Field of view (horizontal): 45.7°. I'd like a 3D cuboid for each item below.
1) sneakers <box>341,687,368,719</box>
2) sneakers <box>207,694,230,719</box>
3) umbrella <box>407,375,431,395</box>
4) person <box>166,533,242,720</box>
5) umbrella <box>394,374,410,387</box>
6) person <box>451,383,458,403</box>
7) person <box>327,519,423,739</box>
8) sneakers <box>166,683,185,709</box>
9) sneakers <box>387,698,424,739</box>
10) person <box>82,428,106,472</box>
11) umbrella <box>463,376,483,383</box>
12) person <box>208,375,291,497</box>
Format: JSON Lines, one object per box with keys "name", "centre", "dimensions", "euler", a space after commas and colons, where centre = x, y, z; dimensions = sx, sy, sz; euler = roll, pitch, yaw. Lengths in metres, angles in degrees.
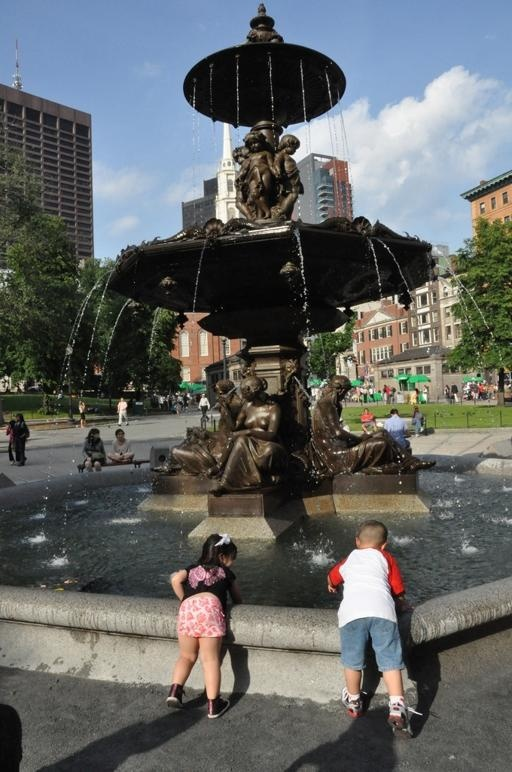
{"name": "sneakers", "centre": [0.471, 1.521, 2.946], "dimensions": [0.112, 0.135, 0.135], "euler": [-1, 0, 10]}
{"name": "sneakers", "centre": [-0.181, 1.569, 2.995], "dimensions": [0.055, 0.093, 0.144], "euler": [0, -2, 21]}
{"name": "umbrella", "centre": [16.172, -0.202, 59.902], "dimensions": [1.962, 1.776, 2.006], "euler": [-1, -2, 1]}
{"name": "person", "centre": [-0.283, 1.221, 3.212], "dimensions": [0.361, 0.904, 0.550], "euler": [-1, 0, -4]}
{"name": "umbrella", "centre": [15.979, -0.726, 66.332], "dimensions": [1.355, 0.928, 1.397], "euler": [-6, 10, -40]}
{"name": "person", "centre": [15.500, 0.558, 47.463], "dimensions": [0.445, 1.339, 1.955], "euler": [-1, 0, 15]}
{"name": "person", "centre": [0.558, 1.156, 3.026], "dimensions": [0.386, 0.934, 0.598], "euler": [-1, 0, 7]}
{"name": "sneakers", "centre": [-0.401, 1.544, 3.016], "dimensions": [0.057, 0.159, 0.107], "euler": [0, 22, 2]}
{"name": "sneakers", "centre": [0.699, 1.507, 2.744], "dimensions": [0.087, 0.180, 0.264], "euler": [-7, -27, 28]}
{"name": "person", "centre": [-3.065, 1.208, 11.382], "dimensions": [0.452, 0.841, 1.377], "euler": [-1, 0, -15]}
{"name": "umbrella", "centre": [22.317, -0.708, 61.860], "dimensions": [1.226, 0.416, 1.206], "euler": [-4, -7, 32]}
{"name": "person", "centre": [-0.054, 0.498, 6.572], "dimensions": [0.770, 1.232, 0.807], "euler": [-1, 0, 2]}
